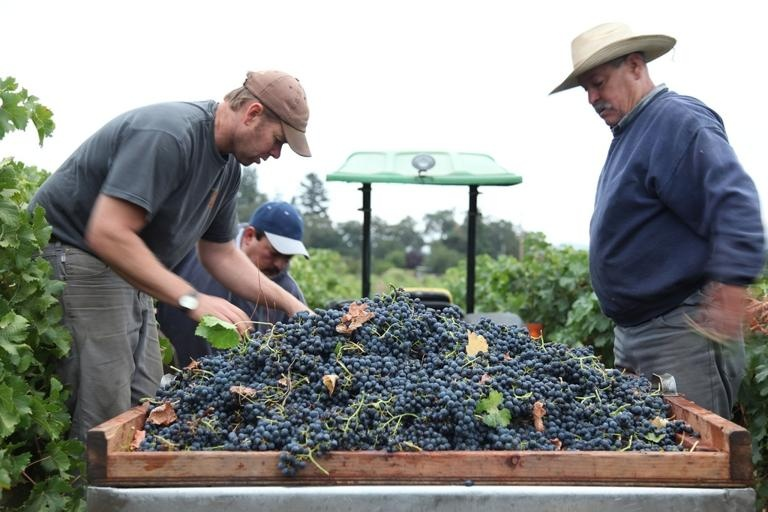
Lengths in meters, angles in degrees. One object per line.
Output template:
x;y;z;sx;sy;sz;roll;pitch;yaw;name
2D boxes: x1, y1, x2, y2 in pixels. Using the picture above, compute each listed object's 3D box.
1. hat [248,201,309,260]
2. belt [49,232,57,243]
-0.784;-0.209;8.132;0.506;0.450;0.562;1;-2;4;hat
-2.073;-0.106;6.329;0.049;0.088;0.026;8;9;6;belt
